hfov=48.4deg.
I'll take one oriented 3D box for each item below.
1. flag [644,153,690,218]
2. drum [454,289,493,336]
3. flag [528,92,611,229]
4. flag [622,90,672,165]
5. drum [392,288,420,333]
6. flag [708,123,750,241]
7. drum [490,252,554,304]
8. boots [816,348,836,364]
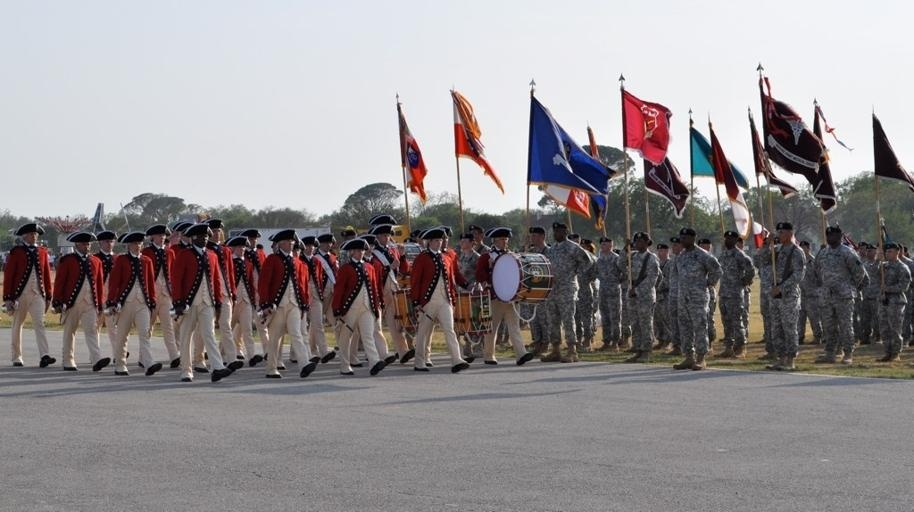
[{"bbox_3d":[5.292,-1.786,25.360,0.928,1.369,2.640,-4,-7,16],"label":"flag"},{"bbox_3d":[0.348,1.177,20.949,0.945,0.843,0.840,-4,-1,-24],"label":"drum"},{"bbox_3d":[2.575,-2.223,22.873,2.417,2.728,0.422,7,-6,-32],"label":"flag"},{"bbox_3d":[4.352,-2.953,23.119,1.046,1.532,0.970,-3,-7,9],"label":"flag"},{"bbox_3d":[-1.054,1.105,21.051,0.435,0.882,0.753,-1,-7,-6],"label":"drum"},{"bbox_3d":[7.089,-1.845,26.068,0.816,3.556,0.532,-13,30,30],"label":"flag"},{"bbox_3d":[1.336,0.437,20.588,1.246,0.998,0.577,-2,-7,1],"label":"drum"},{"bbox_3d":[7.810,2.107,21.320,0.391,0.277,0.903,-4,-7,19],"label":"boots"}]
